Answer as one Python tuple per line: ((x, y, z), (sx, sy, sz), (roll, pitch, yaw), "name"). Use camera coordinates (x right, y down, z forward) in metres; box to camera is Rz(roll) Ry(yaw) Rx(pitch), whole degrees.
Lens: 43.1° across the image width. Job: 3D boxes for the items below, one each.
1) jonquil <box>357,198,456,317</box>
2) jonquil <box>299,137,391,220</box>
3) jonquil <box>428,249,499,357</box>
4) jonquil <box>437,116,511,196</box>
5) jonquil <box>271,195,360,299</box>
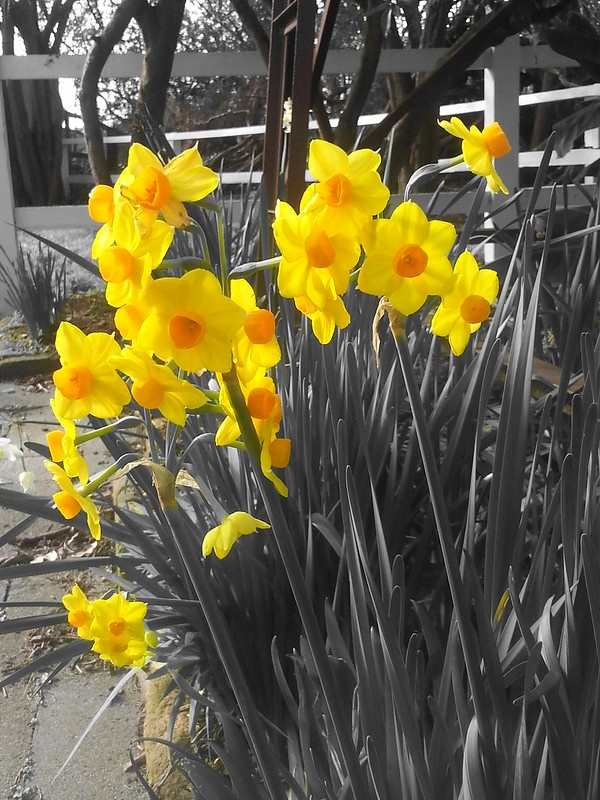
((0.053, -0.072, 0.376), (0.054, 0.015, 0.052), (-26, -42, 25), "jonquil")
((0.019, -0.105, 0.378), (0.045, 0.044, 0.018), (8, 28, 11), "jonquil")
((0.100, -0.056, 0.441), (0.047, 0.022, 0.047), (-22, -14, -18), "jonquil")
((0.127, -0.170, 0.520), (0.035, 0.027, 0.053), (24, 5, 30), "jonquil")
((0.007, -0.081, 0.365), (0.048, 0.020, 0.051), (20, -6, -8), "jonquil")
